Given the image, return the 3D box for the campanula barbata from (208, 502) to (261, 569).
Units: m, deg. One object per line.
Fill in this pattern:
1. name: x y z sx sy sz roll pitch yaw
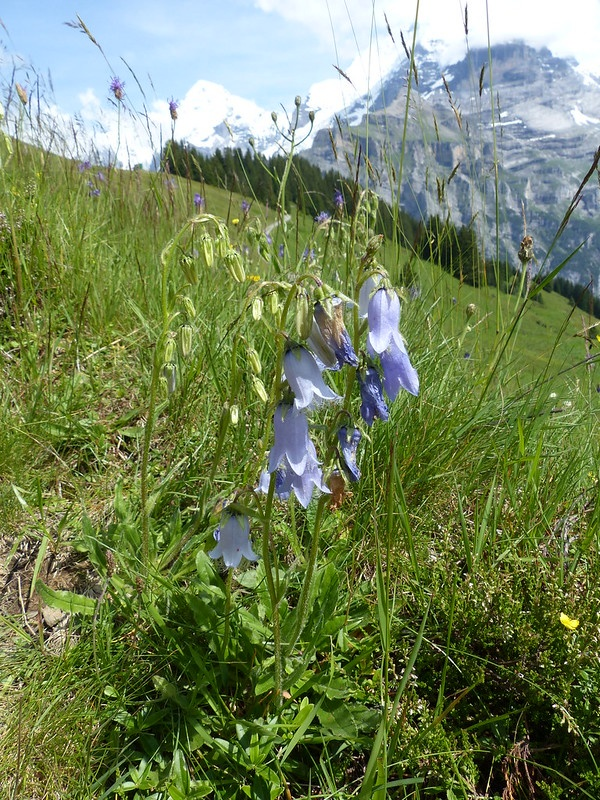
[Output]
1. campanula barbata: -0.184 0.411 1.742 0.110 0.199 0.127 3 8 34

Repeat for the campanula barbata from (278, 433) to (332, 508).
1. campanula barbata: 0.008 0.188 1.663 0.120 0.288 0.153 0 -6 -9

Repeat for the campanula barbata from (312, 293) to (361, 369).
1. campanula barbata: 0.091 -0.164 1.533 0.110 0.244 0.145 -3 15 17

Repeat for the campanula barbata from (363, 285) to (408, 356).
1. campanula barbata: 0.219 -0.228 1.557 0.092 0.233 0.092 2 8 12

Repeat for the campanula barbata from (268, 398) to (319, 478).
1. campanula barbata: -0.024 0.090 1.504 0.091 0.246 0.138 1 10 -1
